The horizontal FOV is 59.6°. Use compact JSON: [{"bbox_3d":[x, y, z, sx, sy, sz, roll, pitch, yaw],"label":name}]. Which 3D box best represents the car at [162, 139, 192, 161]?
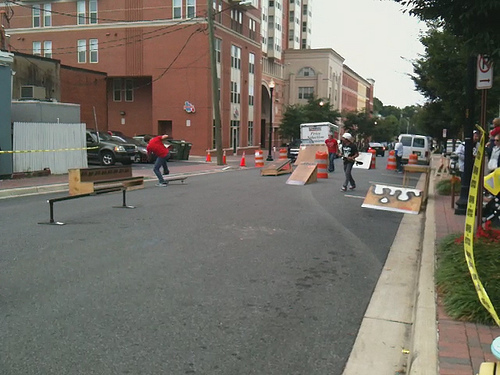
[{"bbox_3d":[-5.685,-2.911,32.036,2.289,1.404,1.803,4,7,34],"label":"car"}]

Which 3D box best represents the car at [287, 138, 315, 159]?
[{"bbox_3d":[4.046,-3.529,37.747,1.510,1.581,2.795,0,3,13],"label":"car"}]

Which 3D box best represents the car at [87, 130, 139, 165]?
[{"bbox_3d":[-8.247,-2.437,25.973,2.619,1.672,1.681,1,7,13],"label":"car"}]

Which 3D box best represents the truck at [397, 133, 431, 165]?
[{"bbox_3d":[11.883,-2.875,31.395,1.662,1.670,2.739,3,12,22],"label":"truck"}]

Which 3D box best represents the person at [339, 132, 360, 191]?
[{"bbox_3d":[3.587,-1.020,16.017,0.713,2.185,0.941,1,5,22],"label":"person"}]

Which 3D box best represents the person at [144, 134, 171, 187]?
[{"bbox_3d":[-3.544,-1.220,17.075,0.868,1.966,0.804,-22,27,-28],"label":"person"}]
